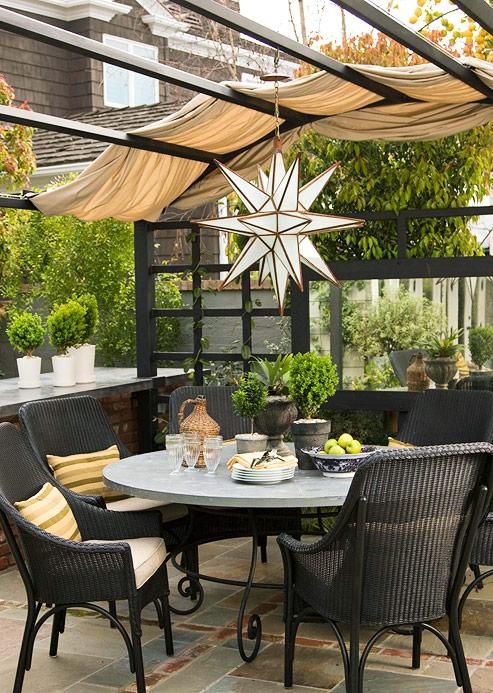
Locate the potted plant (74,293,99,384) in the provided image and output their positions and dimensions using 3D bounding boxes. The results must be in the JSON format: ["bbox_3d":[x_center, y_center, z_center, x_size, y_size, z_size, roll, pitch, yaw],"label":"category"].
[{"bbox_3d":[-1.221,-0.072,4.613,0.235,0.640,0.215,-1,4,0],"label":"potted plant"}]

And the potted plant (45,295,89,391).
[{"bbox_3d":[-1.278,-0.019,4.447,0.279,0.558,0.304,0,3,-3],"label":"potted plant"}]

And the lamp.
[{"bbox_3d":[0.118,-0.596,2.523,0.451,0.936,0.493,-13,16,-38],"label":"lamp"}]

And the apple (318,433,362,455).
[{"bbox_3d":[0.330,0.359,2.314,0.094,0.043,0.091,-1,-1,-37],"label":"apple"}]

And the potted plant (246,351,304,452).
[{"bbox_3d":[0.131,0.242,2.637,0.251,0.412,0.238,2,-9,-20],"label":"potted plant"}]

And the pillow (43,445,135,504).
[{"bbox_3d":[-0.774,0.625,3.035,0.126,0.248,0.438,-11,-7,37],"label":"pillow"}]

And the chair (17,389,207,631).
[{"bbox_3d":[-0.696,0.890,2.769,0.593,0.738,0.455,6,4,1],"label":"chair"}]

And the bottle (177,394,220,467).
[{"bbox_3d":[-0.213,0.370,2.771,0.198,0.297,0.181,5,-3,0],"label":"bottle"}]

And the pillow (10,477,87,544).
[{"bbox_3d":[-0.690,0.572,2.179,0.119,0.259,0.332,-18,-7,11],"label":"pillow"}]

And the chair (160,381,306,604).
[{"bbox_3d":[-0.081,0.690,3.274,0.766,0.972,0.790,3,1,8],"label":"chair"}]

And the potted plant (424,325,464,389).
[{"bbox_3d":[1.300,0.073,4.175,0.238,0.371,0.151,0,13,17],"label":"potted plant"}]

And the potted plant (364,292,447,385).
[{"bbox_3d":[1.087,-0.081,4.468,0.592,0.672,0.659,-6,8,-43],"label":"potted plant"}]

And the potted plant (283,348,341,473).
[{"bbox_3d":[0.252,0.246,2.486,0.189,0.429,0.196,1,-5,23],"label":"potted plant"}]
